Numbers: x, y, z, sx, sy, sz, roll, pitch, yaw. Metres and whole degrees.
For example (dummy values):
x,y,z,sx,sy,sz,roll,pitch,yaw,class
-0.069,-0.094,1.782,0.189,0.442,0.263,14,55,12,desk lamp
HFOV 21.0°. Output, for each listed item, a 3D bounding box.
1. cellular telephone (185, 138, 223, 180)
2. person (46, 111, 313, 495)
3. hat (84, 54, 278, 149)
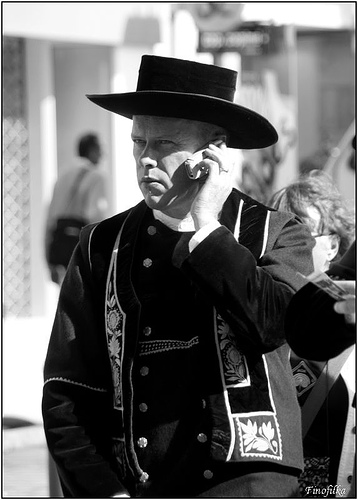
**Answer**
x,y,z,sx,sy,sz,roll,pitch,yaw,class
0.093,-0.300,3.090,0.075,0.105,0.210,6,20,29,cellular telephone
-0.014,0.168,3.031,0.861,1.165,0.578,0,16,9,person
0.077,-0.473,3.173,0.372,0.155,0.424,6,-9,25,hat
